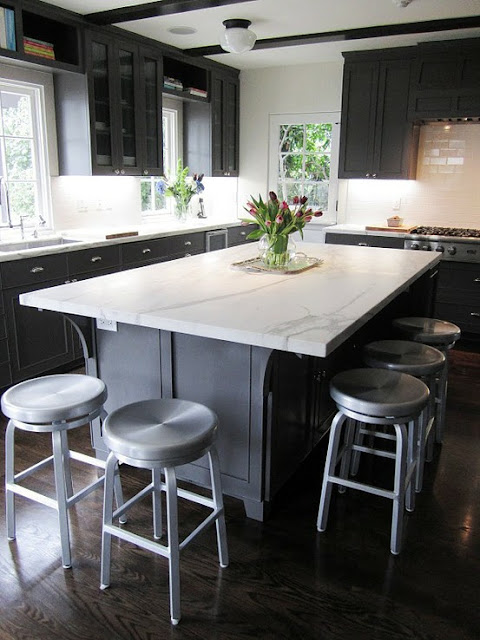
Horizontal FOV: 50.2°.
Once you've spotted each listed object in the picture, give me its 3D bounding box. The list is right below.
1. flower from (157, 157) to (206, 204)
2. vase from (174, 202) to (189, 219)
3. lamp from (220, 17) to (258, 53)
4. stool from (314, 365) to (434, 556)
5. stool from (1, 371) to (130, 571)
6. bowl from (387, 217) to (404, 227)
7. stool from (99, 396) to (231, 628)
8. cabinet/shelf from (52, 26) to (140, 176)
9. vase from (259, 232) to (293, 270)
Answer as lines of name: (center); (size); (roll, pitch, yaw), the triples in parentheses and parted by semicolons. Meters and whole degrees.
flower: (-0.599, -1.417, 5.259); (0.430, 0.456, 0.724); (-1, 10, -6)
vase: (-0.572, -1.120, 5.200); (0.144, 0.161, 0.141); (-23, 36, -39)
lamp: (0.017, -2.052, 3.723); (0.283, 0.236, 0.278); (-14, 33, -19)
stool: (0.515, 0.541, 1.920); (0.374, 0.593, 0.373); (-3, 26, 0)
stool: (-0.598, 0.542, 1.782); (0.386, 0.618, 0.388); (16, 22, 29)
bowl: (1.499, -0.929, 4.933); (0.121, 0.080, 0.119); (-1, 7, 0)
stool: (-0.222, 0.601, 1.574); (0.386, 0.625, 0.391); (17, 24, 38)
cabinet/shelf: (-1.135, -1.705, 3.937); (0.333, 0.911, 0.938); (9, 23, 16)
vase: (0.185, -0.359, 2.634); (0.179, 0.167, 0.176); (-1, 13, 2)
